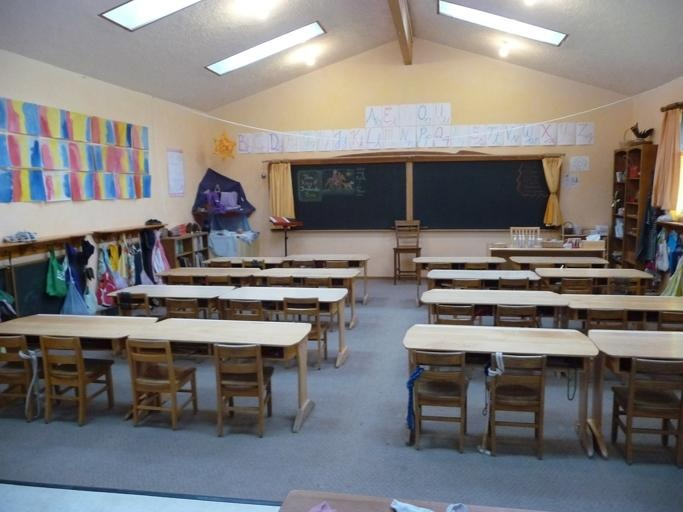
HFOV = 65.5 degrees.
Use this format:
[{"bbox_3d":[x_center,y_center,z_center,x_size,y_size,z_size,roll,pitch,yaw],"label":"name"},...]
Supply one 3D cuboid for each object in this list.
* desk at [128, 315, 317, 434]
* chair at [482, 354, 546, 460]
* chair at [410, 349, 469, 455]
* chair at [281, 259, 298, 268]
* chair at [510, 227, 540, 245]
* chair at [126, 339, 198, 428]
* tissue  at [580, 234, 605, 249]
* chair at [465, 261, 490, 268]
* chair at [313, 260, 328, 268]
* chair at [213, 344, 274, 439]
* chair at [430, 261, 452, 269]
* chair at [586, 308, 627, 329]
[{"bbox_3d":[-1.103,1.221,5.452,1.615,0.820,0.845,-1,4,16],"label":"desk"},{"bbox_3d":[1.636,1.317,5.077,0.568,0.985,0.774,0,8,21],"label":"chair"},{"bbox_3d":[0.965,1.301,5.271,0.554,0.944,0.894,-1,7,13],"label":"chair"},{"bbox_3d":[-0.908,0.155,9.176,0.164,0.115,0.167,0,4,-1],"label":"chair"},{"bbox_3d":[3.570,-0.382,10.353,0.538,0.303,0.793,-1,7,16],"label":"chair"},{"bbox_3d":[-1.857,1.232,5.557,0.653,0.925,0.795,-1,7,14],"label":"chair"},{"bbox_3d":[4.569,-0.237,9.733,0.337,0.218,0.324,-2,6,-4],"label":"tissue "},{"bbox_3d":[2.087,0.160,8.233,0.329,0.110,0.132,-2,7,7],"label":"chair"},{"bbox_3d":[-0.366,0.174,9.087,0.202,0.143,0.113,1,23,4],"label":"chair"},{"bbox_3d":[-0.987,1.273,5.387,0.573,0.926,0.696,-4,7,-9],"label":"chair"},{"bbox_3d":[1.580,0.164,8.512,0.345,0.117,0.185,-2,7,7],"label":"chair"},{"bbox_3d":[2.972,0.707,5.960,0.239,0.251,0.162,2,19,18],"label":"chair"}]
